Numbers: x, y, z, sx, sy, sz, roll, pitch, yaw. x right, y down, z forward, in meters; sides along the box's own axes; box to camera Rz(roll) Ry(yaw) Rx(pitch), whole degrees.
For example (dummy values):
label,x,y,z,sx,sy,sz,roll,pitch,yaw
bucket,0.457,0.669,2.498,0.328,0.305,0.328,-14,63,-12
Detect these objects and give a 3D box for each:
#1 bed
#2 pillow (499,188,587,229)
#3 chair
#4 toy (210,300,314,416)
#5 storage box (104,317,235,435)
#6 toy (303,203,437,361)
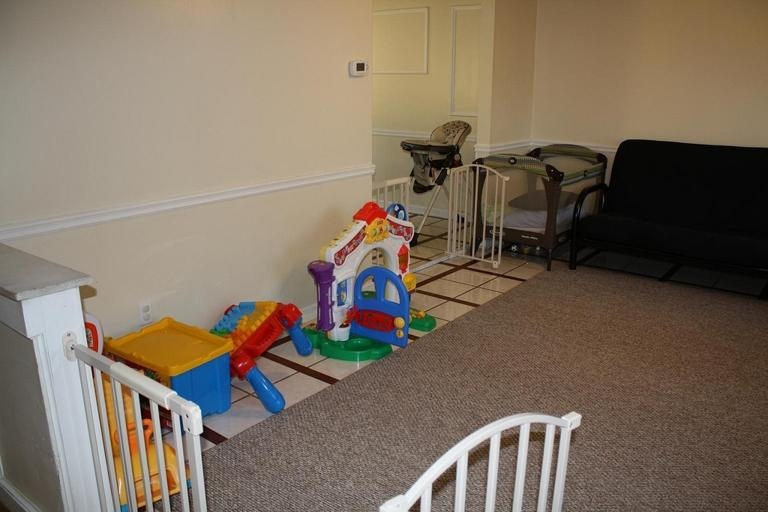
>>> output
label,x,y,z,sx,sy,sz,roll,pitch,yaw
bed,1.681,-0.637,5.646,0.995,0.991,1.522,15,23,40
pillow,1.525,-0.492,5.112,0.588,0.171,0.416,5,21,31
chair,0.563,-0.933,6.098,1.048,1.130,1.022,5,17,21
toy,-0.828,0.542,3.395,0.597,0.421,0.662,10,35,39
storage box,-1.287,0.718,3.194,0.671,0.397,0.432,9,16,33
toy,-0.069,0.122,3.905,0.992,0.972,1.078,13,22,43
